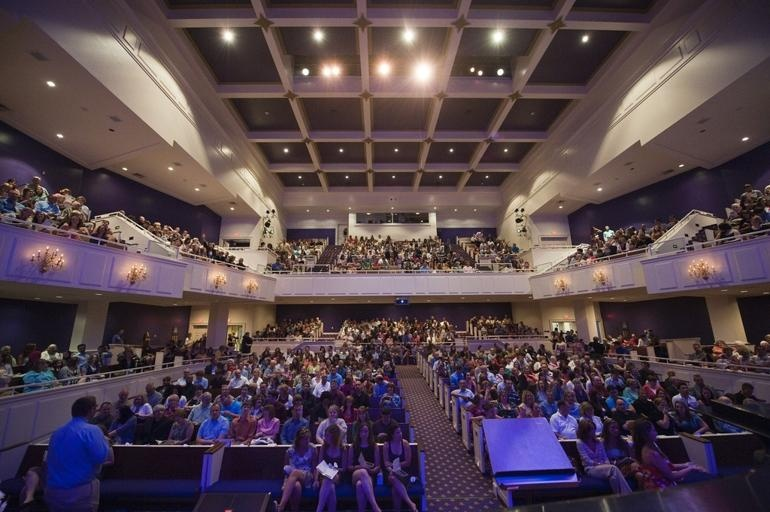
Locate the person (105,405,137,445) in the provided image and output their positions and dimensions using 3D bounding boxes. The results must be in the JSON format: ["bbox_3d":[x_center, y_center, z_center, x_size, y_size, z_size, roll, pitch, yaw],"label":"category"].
[{"bbox_3d":[-6.856,4.568,10.701,0.577,1.266,0.650,1,-10,-1],"label":"person"}]

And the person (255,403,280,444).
[{"bbox_3d":[-3.086,4.411,10.743,0.641,0.959,0.624,5,-20,-21],"label":"person"}]

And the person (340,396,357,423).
[{"bbox_3d":[-1.019,4.231,11.300,0.559,0.803,0.434,1,-18,-6],"label":"person"}]

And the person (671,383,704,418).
[{"bbox_3d":[8.373,4.032,11.393,0.408,0.852,0.287,-15,-32,-3],"label":"person"}]

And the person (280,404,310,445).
[{"bbox_3d":[-2.310,4.468,10.708,0.655,1.109,0.611,14,-22,-37],"label":"person"}]

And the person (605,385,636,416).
[{"bbox_3d":[6.589,4.024,11.497,0.577,0.828,0.833,-11,-47,7],"label":"person"}]

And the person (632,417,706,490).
[{"bbox_3d":[6.312,4.524,9.493,1.156,1.461,0.453,5,-18,-19],"label":"person"}]

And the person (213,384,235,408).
[{"bbox_3d":[-4.770,4.196,12.250,0.705,0.947,0.471,5,-16,-24],"label":"person"}]

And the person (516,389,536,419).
[{"bbox_3d":[3.908,4.121,11.381,0.569,0.760,0.422,-2,-57,21],"label":"person"}]

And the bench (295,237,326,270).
[{"bbox_3d":[-5.312,-0.246,28.292,1.250,2.028,4.103,-1,-13,-2],"label":"bench"}]

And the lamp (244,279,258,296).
[{"bbox_3d":[-6.798,1.588,21.027,0.604,0.651,0.591,0,1,-33],"label":"lamp"}]

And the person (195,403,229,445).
[{"bbox_3d":[-4.541,4.441,10.777,0.686,0.946,0.557,-5,-44,-10],"label":"person"}]

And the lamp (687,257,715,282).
[{"bbox_3d":[11.489,0.482,14.946,0.228,0.752,0.736,8,-14,-26],"label":"lamp"}]

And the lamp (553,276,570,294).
[{"bbox_3d":[9.023,1.538,21.019,0.659,0.909,0.758,15,-18,-32],"label":"lamp"}]

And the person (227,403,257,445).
[{"bbox_3d":[-3.715,4.420,10.803,0.661,1.046,0.626,6,-7,5],"label":"person"}]

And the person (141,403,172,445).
[{"bbox_3d":[-5.949,4.440,10.769,0.691,0.880,0.496,-5,-31,-5],"label":"person"}]

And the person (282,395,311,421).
[{"bbox_3d":[-2.404,4.115,11.075,0.669,0.874,0.885,0,-14,0],"label":"person"}]

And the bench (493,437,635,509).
[{"bbox_3d":[3.972,4.857,9.213,2.132,1.175,0.777,-3,-44,-3],"label":"bench"}]

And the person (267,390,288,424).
[{"bbox_3d":[-2.952,4.168,11.282,0.485,1.025,0.367,-7,-45,-15],"label":"person"}]
